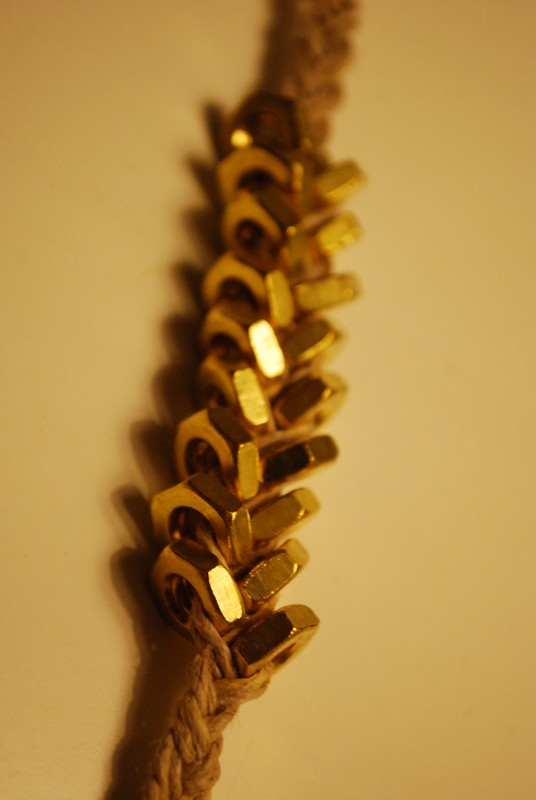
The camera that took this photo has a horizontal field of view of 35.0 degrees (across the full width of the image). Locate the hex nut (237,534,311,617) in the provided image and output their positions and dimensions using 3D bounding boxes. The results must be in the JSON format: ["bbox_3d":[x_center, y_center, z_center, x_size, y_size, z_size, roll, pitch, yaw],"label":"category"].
[{"bbox_3d":[0.001,0.087,0.419,0.042,0.020,0.010,-33,-11,-34],"label":"hex nut"}]

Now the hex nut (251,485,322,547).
[{"bbox_3d":[0.018,0.058,0.447,0.024,0.022,0.007,-16,-24,-38],"label":"hex nut"}]

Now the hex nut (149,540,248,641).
[{"bbox_3d":[-0.034,0.095,0.418,0.018,0.051,0.057,-23,22,-32],"label":"hex nut"}]

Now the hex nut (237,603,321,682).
[{"bbox_3d":[0.005,0.117,0.406,0.045,0.029,0.016,-18,20,-27],"label":"hex nut"}]

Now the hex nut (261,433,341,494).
[{"bbox_3d":[0.014,0.034,0.450,0.044,0.019,0.013,-18,-23,-18],"label":"hex nut"}]

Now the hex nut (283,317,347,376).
[{"bbox_3d":[0.025,-0.029,0.464,0.037,0.021,0.009,-44,5,-33],"label":"hex nut"}]

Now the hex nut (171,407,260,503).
[{"bbox_3d":[-0.022,0.024,0.444,0.053,0.046,0.017,28,51,26],"label":"hex nut"}]

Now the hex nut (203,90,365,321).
[{"bbox_3d":[0.007,-0.097,0.468,0.099,0.121,0.035,-10,13,-23],"label":"hex nut"}]

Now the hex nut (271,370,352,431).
[{"bbox_3d":[0.023,0.009,0.476,0.037,0.019,0.037,-26,-15,1],"label":"hex nut"}]
